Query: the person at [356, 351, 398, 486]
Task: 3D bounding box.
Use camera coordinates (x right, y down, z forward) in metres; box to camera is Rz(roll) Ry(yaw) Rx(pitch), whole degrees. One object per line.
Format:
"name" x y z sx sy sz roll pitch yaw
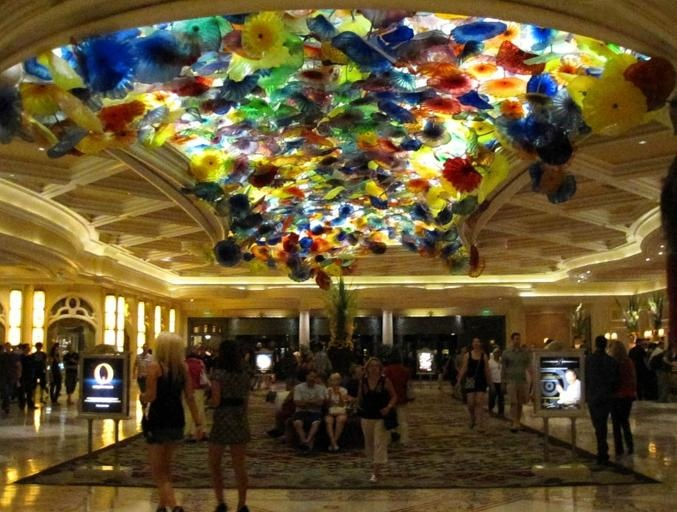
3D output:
"person" 0.588 2.382 7.776 0.554 1.752 0.929 -3 -12 2

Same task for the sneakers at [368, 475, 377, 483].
"sneakers" 0.501 3.182 7.471 0.103 0.088 0.150 0 -21 6

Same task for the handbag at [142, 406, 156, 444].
"handbag" -2.040 1.774 5.592 0.117 0.394 0.399 2 -11 -19
